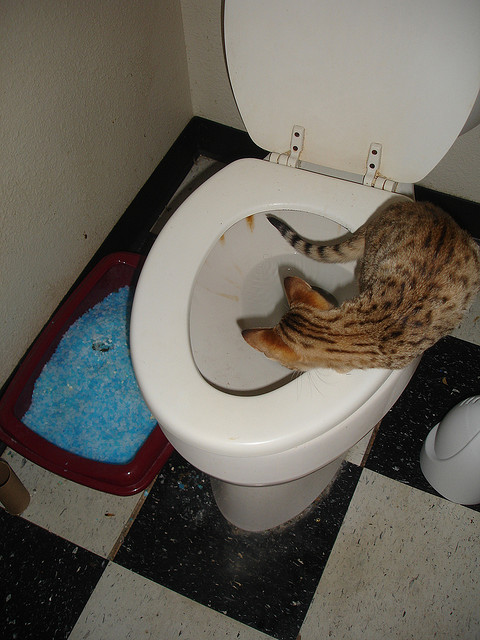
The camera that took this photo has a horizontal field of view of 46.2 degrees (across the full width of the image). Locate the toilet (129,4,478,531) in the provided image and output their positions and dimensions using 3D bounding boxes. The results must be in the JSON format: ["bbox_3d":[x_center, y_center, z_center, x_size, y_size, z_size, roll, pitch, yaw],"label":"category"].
[{"bbox_3d":[0.075,-0.119,1.011,0.518,0.656,0.659,22,53,24],"label":"toilet"}]

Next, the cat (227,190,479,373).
[{"bbox_3d":[0.224,0.022,1.208,0.486,0.192,0.377,-42,74,-14],"label":"cat"}]
